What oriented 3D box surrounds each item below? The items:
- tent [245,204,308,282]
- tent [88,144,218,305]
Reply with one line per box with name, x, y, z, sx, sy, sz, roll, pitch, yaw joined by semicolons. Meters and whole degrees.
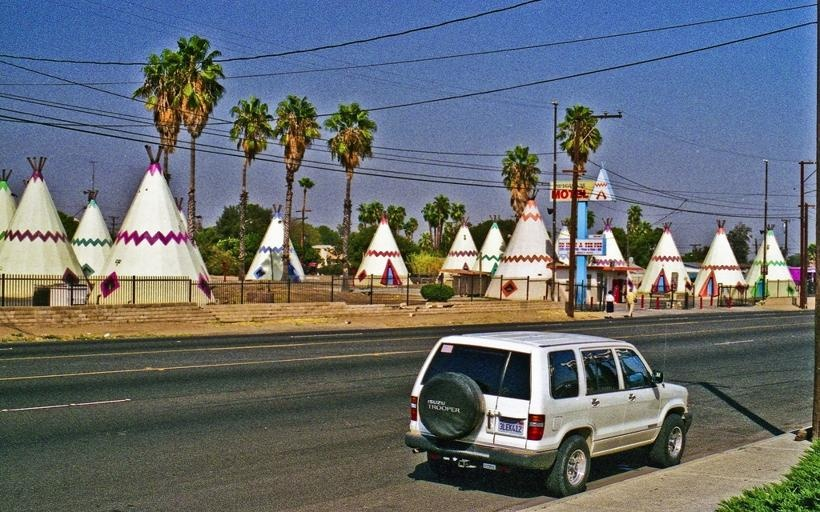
tent;-11.748;-0.871;69.329;4.343;5.797;12.892;0;6;-11
tent;-11.839;-1.419;36.698;4.628;7.269;4.154;-1;6;-17
